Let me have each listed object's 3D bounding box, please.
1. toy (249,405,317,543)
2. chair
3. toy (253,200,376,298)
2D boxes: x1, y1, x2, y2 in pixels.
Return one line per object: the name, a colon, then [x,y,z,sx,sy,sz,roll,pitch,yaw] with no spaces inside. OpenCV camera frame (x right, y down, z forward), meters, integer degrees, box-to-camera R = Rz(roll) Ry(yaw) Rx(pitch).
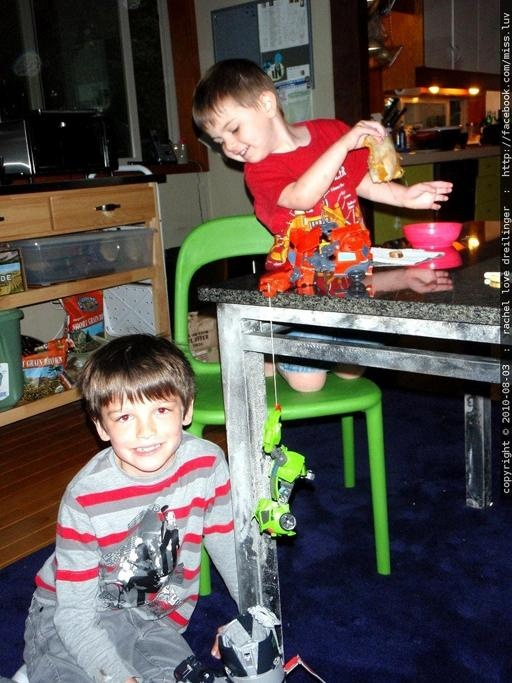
toy: [0.034,0.147,0.606,0.059,0.132,0.050,6,-4,-16]
chair: [0.100,0.155,1.302,0.420,0.638,0.415,3,-2,10]
toy: [0.068,-0.121,0.686,0.185,0.078,0.151,-3,23,-20]
